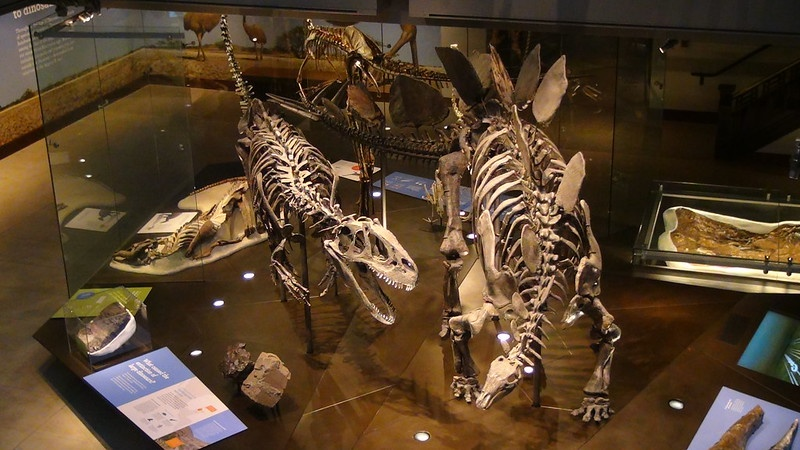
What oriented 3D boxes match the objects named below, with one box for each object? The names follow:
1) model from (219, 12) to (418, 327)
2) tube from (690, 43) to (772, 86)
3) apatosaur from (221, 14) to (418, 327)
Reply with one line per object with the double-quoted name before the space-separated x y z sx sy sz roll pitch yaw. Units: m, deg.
"model" -1.061 -0.741 7.509 1.370 1.961 4.875 -23 59 -25
"tube" 3.925 -1.873 6.640 0.098 0.380 0.915 -6 7 -35
"apatosaur" -1.049 -0.729 7.514 1.383 2.066 4.798 -23 59 -26
